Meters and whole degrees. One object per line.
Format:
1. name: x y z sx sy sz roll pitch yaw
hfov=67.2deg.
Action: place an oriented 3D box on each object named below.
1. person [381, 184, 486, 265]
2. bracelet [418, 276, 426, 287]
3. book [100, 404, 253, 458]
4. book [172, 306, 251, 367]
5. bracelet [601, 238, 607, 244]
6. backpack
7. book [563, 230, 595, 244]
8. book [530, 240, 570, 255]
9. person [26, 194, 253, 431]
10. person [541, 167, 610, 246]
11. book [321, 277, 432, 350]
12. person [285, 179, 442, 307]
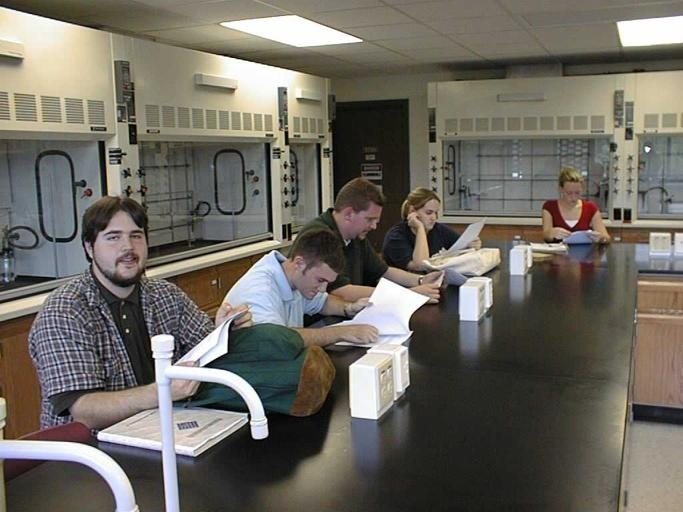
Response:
1. person: 0.685 -0.193 3.750 0.684 0.588 0.518 2 19 33
2. bracelet: 0.468 0.157 3.051 0.034 0.051 0.048 -3 8 0
3. book: -0.473 0.479 1.465 0.377 0.048 0.232 2 11 18
4. book: -0.388 0.244 1.544 0.202 0.210 0.276 -4 11 -17
5. bracelet: 2.148 -0.117 4.229 0.043 0.044 0.011 0 48 -5
6. backpack: -0.237 0.320 1.578 0.331 0.157 0.264 1 7 18
7. book: 1.959 -0.144 4.259 0.232 0.123 0.160 4 12 27
8. book: 1.599 -0.052 3.974 0.248 0.064 0.145 4 12 25
9. person: -0.863 0.142 2.173 0.877 1.004 0.781 -4 1 30
10. person: 2.038 -0.449 4.509 0.516 0.622 0.715 3 11 22
11. book: 0.177 0.234 2.221 0.323 0.139 0.258 0 21 45
12. person: 0.161 -0.112 3.116 0.822 0.759 0.601 3 10 11
